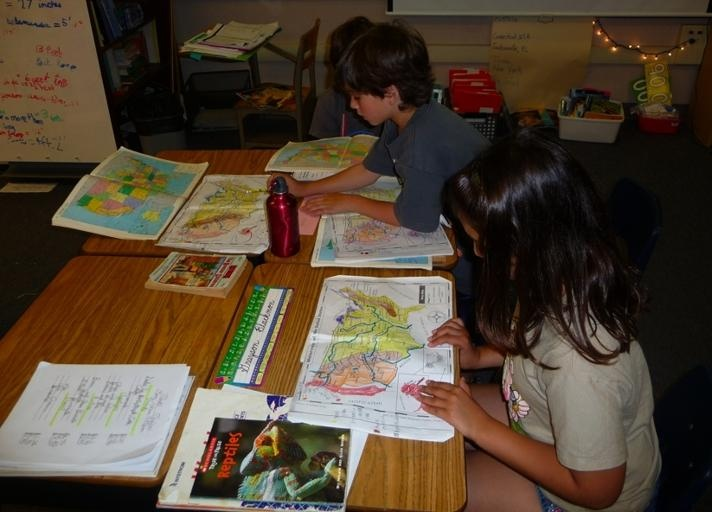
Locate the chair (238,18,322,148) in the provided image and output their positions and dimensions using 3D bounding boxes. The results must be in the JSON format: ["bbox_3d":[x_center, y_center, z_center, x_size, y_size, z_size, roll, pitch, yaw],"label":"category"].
[{"bbox_3d":[-0.500,-1.087,3.267,0.476,0.773,0.470,5,36,5],"label":"chair"}]

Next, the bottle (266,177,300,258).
[{"bbox_3d":[-0.219,-0.118,1.497,0.097,0.229,0.096,-1,28,0],"label":"bottle"}]

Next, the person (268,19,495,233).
[{"bbox_3d":[0.110,-0.458,1.716,0.869,0.549,0.524,-6,27,2],"label":"person"}]

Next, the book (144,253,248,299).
[{"bbox_3d":[-0.451,0.050,1.474,0.242,0.043,0.164,2,35,14],"label":"book"}]
